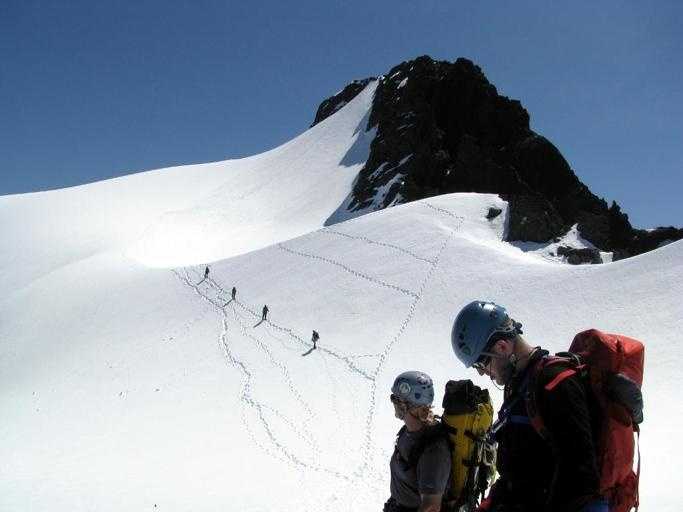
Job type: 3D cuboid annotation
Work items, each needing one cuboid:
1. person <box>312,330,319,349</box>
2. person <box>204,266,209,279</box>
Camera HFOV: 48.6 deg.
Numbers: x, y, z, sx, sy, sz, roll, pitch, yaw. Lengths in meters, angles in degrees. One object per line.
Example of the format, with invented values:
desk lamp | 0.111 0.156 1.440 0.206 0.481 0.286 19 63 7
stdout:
person | -1.605 5.207 47.468 0.512 1.321 1.018 5 -21 -2
person | -10.518 1.224 59.197 0.297 1.120 0.422 7 -39 -7
